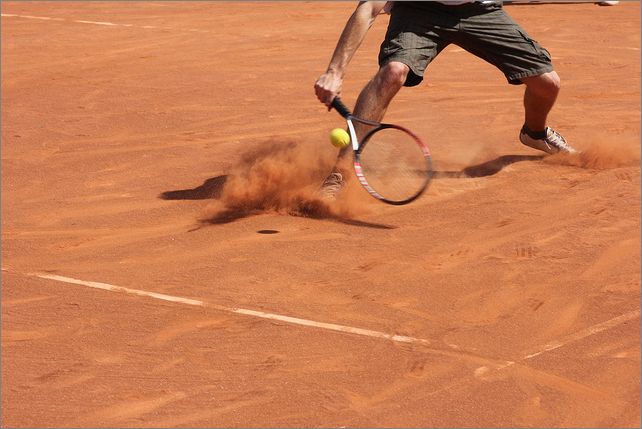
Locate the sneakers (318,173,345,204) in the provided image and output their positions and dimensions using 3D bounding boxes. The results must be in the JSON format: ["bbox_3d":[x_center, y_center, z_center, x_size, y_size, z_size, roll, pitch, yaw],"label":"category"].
[{"bbox_3d":[0.098,-0.198,5.362,0.122,0.116,0.263,21,60,13],"label":"sneakers"}]

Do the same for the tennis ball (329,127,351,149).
[{"bbox_3d":[0.125,-0.531,5.147,0.128,0.120,0.145,40,11,-33],"label":"tennis ball"}]

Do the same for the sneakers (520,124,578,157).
[{"bbox_3d":[1.868,-0.608,6.111,0.532,0.151,0.185,16,-3,22],"label":"sneakers"}]
